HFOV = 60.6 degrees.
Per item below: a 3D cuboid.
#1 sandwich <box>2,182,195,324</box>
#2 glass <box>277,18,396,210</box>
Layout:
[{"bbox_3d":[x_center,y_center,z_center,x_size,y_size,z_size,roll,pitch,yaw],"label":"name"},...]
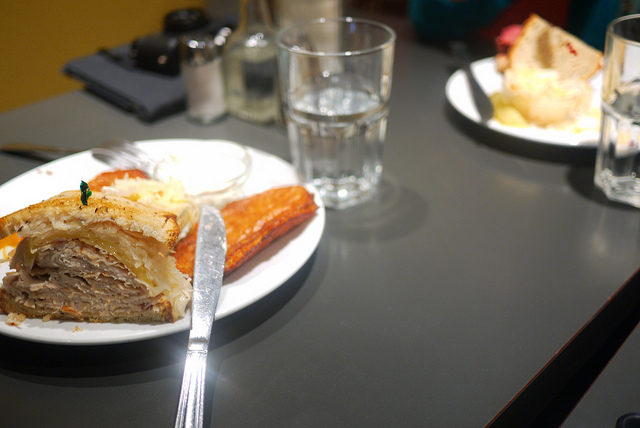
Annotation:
[{"bbox_3d":[-0.282,0.048,0.698,0.241,0.143,0.113,-1,37,4],"label":"sandwich"},{"bbox_3d":[0.038,-0.142,0.950,0.162,0.356,0.158,6,25,18],"label":"glass"}]
